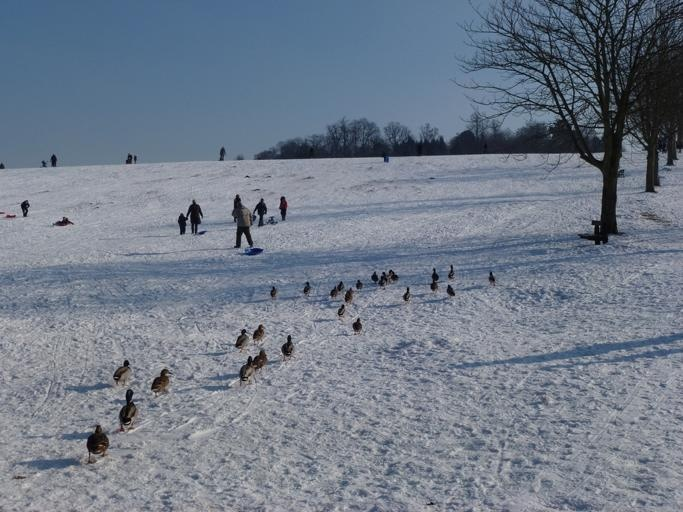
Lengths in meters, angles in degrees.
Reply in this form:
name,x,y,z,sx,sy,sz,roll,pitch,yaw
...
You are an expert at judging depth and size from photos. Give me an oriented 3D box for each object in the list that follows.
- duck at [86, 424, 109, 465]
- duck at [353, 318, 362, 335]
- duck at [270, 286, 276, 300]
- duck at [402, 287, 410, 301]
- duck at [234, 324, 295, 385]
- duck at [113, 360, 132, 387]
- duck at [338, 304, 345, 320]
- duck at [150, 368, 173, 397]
name,x,y,z,sx,sy,sz,roll,pitch,yaw
duck,-5.693,4.425,17.724,0.482,0.603,0.885,6,21,-11
duck,0.460,2.071,22.200,0.280,0.394,0.269,-1,3,8
duck,-2.254,1.228,25.263,0.242,0.345,0.711,-6,10,-6
duck,2.102,1.241,24.445,0.251,0.377,0.284,-7,-23,39
duck,-2.052,2.861,20.552,0.777,0.732,2.040,1,11,33
duck,-5.686,3.100,19.713,0.368,0.503,0.711,0,5,7
duck,0.010,1.767,23.619,0.255,0.308,0.759,2,-13,-1
duck,-4.649,3.279,19.725,0.414,0.547,0.747,-1,10,22
